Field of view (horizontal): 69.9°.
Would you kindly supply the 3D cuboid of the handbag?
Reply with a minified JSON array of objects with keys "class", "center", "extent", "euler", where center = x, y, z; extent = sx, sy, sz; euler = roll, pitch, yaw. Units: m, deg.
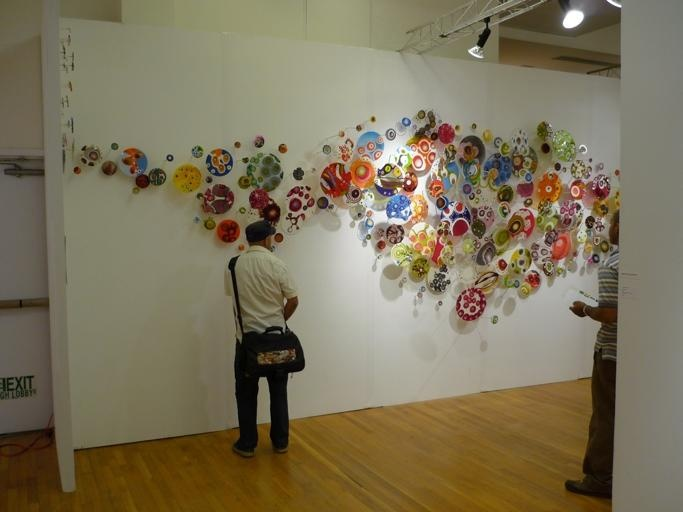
[{"class":"handbag","center":[-0.559,0.782,3.888],"extent":[0.459,0.454,0.279],"euler":[0,-18,-23]}]

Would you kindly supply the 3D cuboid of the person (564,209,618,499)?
[{"class":"person","center":[1.720,0.680,3.296],"extent":[0.291,1.945,0.638],"euler":[3,7,20]}]

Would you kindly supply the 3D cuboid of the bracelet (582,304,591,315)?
[{"class":"bracelet","center":[1.653,0.357,3.292],"extent":[0.022,0.055,0.069],"euler":[-10,40,2]}]

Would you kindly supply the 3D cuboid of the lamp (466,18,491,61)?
[{"class":"lamp","center":[1.333,-2.036,4.577],"extent":[0.131,0.377,0.133],"euler":[22,8,-17]}]

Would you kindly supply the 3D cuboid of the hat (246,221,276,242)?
[{"class":"hat","center":[-0.650,-0.207,3.936],"extent":[0.145,0.120,0.209],"euler":[15,37,33]}]
